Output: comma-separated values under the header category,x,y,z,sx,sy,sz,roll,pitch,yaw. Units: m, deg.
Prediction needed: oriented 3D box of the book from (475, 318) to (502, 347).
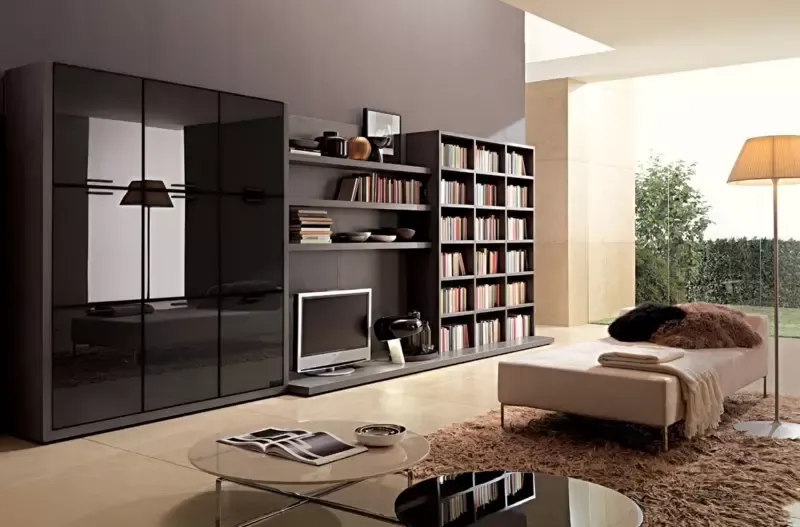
category,x,y,z,sx,sy,sz,roll,pitch,yaw
book,1.187,0.916,7.892,0.079,0.225,0.399,0,0,41

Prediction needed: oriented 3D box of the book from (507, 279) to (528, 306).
category,x,y,z,sx,sy,sz,roll,pitch,yaw
book,1.667,0.398,8.271,0.315,0.386,0.419,-1,-2,28

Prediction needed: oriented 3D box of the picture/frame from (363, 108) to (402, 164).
category,x,y,z,sx,sy,sz,roll,pitch,yaw
picture/frame,-0.222,-1.561,7.156,0.076,0.596,0.668,-3,16,-40

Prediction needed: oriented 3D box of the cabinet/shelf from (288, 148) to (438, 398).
category,x,y,z,sx,sy,sz,roll,pitch,yaw
cabinet/shelf,-0.455,0.092,6.508,0.939,2.560,2.811,-2,-2,31

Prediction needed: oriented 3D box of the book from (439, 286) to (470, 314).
category,x,y,z,sx,sy,sz,roll,pitch,yaw
book,0.684,0.451,7.397,0.308,0.387,0.436,-1,-1,29

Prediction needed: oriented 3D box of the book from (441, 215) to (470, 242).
category,x,y,z,sx,sy,sz,roll,pitch,yaw
book,0.699,-0.464,7.427,0.323,0.411,0.456,-1,-1,43

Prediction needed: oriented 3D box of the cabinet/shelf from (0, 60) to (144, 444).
category,x,y,z,sx,sy,sz,roll,pitch,yaw
cabinet/shelf,-2.844,-0.093,4.590,0.791,2.894,0.389,2,6,25

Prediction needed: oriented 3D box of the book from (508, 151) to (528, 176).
category,x,y,z,sx,sy,sz,roll,pitch,yaw
book,1.669,-1.450,8.312,0.262,0.418,0.455,0,0,29

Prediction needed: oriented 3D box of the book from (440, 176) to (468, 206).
category,x,y,z,sx,sy,sz,roll,pitch,yaw
book,0.698,-0.919,7.453,0.336,0.419,0.479,0,-1,28

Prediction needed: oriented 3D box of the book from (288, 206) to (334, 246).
category,x,y,z,sx,sy,sz,roll,pitch,yaw
book,-0.906,-0.383,6.137,0.367,0.420,0.522,1,2,39

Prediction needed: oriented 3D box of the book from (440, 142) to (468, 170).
category,x,y,z,sx,sy,sz,roll,pitch,yaw
book,0.674,-1.373,7.396,0.241,0.395,0.448,0,-2,39

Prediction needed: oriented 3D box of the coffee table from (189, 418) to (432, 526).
category,x,y,z,sx,sy,sz,roll,pitch,yaw
coffee table,-0.523,1.259,3.379,1.375,0.537,0.873,0,5,6

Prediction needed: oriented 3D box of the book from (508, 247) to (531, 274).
category,x,y,z,sx,sy,sz,roll,pitch,yaw
book,1.679,-0.044,8.264,0.327,0.425,0.467,-1,-1,28

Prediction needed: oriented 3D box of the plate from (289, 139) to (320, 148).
category,x,y,z,sx,sy,sz,roll,pitch,yaw
plate,-1.032,-1.273,6.193,0.198,0.045,0.203,2,3,45

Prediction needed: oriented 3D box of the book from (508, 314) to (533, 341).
category,x,y,z,sx,sy,sz,roll,pitch,yaw
book,1.684,0.878,8.288,0.308,0.451,0.523,-1,-2,35

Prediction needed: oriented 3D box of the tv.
category,x,y,z,sx,sy,sz,roll,pitch,yaw
tv,-0.722,0.706,6.146,0.129,0.755,0.965,2,3,43

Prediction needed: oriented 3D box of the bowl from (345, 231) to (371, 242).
category,x,y,z,sx,sy,sz,roll,pitch,yaw
bowl,-0.482,-0.314,6.587,0.257,0.105,0.156,-1,5,-6

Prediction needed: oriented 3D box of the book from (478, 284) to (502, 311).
category,x,y,z,sx,sy,sz,roll,pitch,yaw
book,1.185,0.422,7.864,0.312,0.401,0.437,-2,-3,34
